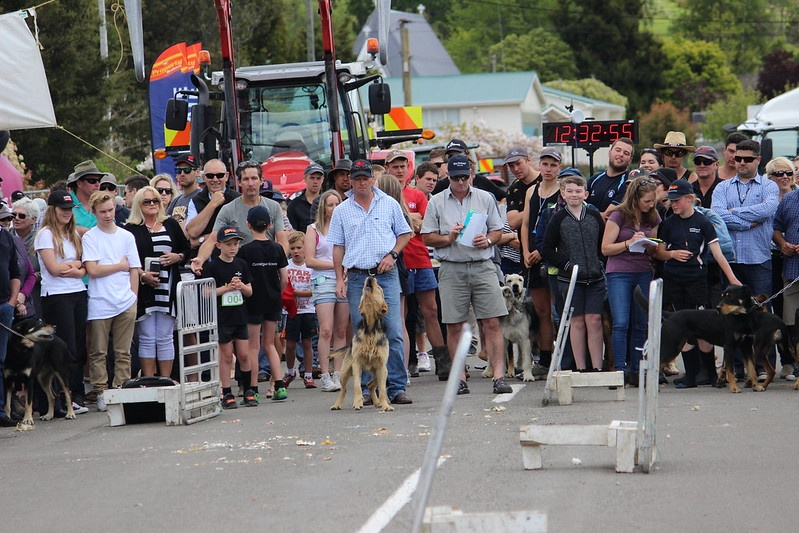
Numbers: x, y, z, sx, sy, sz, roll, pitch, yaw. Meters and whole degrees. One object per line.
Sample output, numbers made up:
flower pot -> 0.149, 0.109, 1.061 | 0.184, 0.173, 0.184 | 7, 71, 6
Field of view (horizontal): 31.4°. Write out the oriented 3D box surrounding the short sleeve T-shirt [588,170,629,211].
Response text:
short sleeve T-shirt -> 3.437, -1.212, 23.192 | 0.564, 0.526, 0.290 | 25, -5, 23

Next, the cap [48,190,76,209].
cap -> -5.254, -1.029, 21.988 | 0.347, 0.168, 0.251 | 0, 3, 27

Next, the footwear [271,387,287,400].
footwear -> -1.923, 2.012, 22.517 | 0.226, 0.173, 0.278 | -3, 12, -5

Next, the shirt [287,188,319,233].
shirt -> -1.803, -0.899, 24.922 | 0.328, 0.832, 0.634 | 22, 19, 23

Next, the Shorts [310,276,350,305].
Shorts -> -1.123, 0.376, 22.639 | 0.661, 0.433, 0.433 | 3, -9, -29

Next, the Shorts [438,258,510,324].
Shorts -> 1.144, 0.387, 22.288 | 1.005, 0.889, 0.504 | -6, -12, 2

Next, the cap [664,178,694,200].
cap -> 4.369, -1.194, 22.134 | 0.403, 0.190, 0.257 | -6, 6, -17

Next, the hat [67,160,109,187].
hat -> -5.200, -1.496, 23.037 | 0.448, 0.178, 0.484 | -9, -3, -37

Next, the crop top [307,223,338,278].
crop top -> -1.265, -0.187, 23.072 | 0.552, 0.901, 0.912 | -5, -7, 14

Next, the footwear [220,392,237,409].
footwear -> -2.684, 2.093, 22.244 | 0.237, 0.184, 0.276 | -4, 12, -7

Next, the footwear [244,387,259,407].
footwear -> -2.340, 2.047, 22.177 | 0.223, 0.276, 0.271 | -4, 12, -9

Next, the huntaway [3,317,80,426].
huntaway -> -5.551, 1.576, 21.619 | 1.024, 1.573, 1.024 | -6, 13, -14

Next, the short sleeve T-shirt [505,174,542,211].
short sleeve T-shirt -> 2.076, -1.199, 23.553 | 0.697, 0.615, 0.412 | -3, -1, 39

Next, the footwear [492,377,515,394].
footwear -> 1.596, 1.843, 21.968 | 0.304, 0.246, 0.363 | -2, 12, 3

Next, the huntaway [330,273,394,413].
huntaway -> -0.552, 1.347, 22.005 | 0.916, 1.868, 2.649 | 4, -11, -11

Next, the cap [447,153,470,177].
cap -> 0.923, -1.554, 22.121 | 0.353, 0.353, 0.378 | -2, 12, 2

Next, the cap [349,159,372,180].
cap -> -0.586, -1.461, 21.647 | 0.355, 0.258, 0.342 | -3, 12, -4

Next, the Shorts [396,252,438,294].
Shorts -> 0.243, 0.116, 22.920 | 0.640, 0.565, 0.341 | -11, 1, -11

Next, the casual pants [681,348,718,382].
casual pants -> 4.775, 1.580, 22.573 | 0.652, 0.658, 0.293 | -4, 38, 17

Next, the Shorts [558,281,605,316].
Shorts -> 2.799, 0.523, 22.240 | 0.874, 0.770, 0.491 | 0, -5, 2
